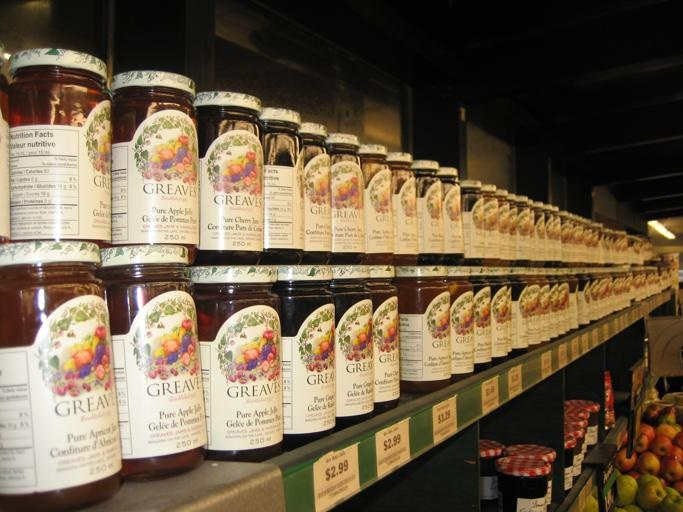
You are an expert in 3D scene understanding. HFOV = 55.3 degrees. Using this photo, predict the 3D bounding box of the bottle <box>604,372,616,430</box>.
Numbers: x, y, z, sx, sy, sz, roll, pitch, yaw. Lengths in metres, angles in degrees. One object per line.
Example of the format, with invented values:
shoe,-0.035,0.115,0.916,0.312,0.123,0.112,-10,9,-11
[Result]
bottle,1.319,0.725,3.203,0.067,0.335,0.093,-2,1,15
